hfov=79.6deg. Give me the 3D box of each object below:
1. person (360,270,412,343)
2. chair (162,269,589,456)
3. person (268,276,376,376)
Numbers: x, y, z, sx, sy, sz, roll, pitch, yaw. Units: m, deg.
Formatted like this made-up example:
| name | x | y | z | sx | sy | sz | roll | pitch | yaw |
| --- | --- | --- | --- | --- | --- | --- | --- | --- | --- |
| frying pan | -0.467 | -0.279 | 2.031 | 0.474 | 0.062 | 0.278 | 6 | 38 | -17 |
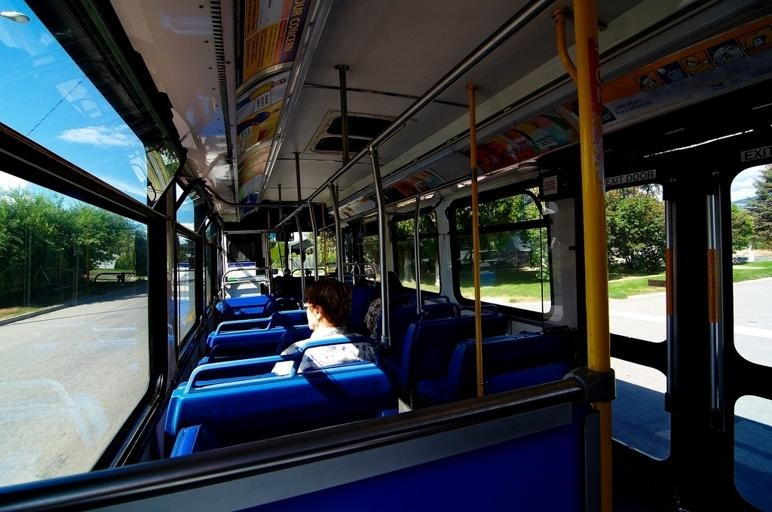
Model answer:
| name | x | y | z | sx | sy | sz | roll | pitch | yaw |
| --- | --- | --- | --- | --- | --- | --- | --- | --- | --- |
| person | 0.059 | 0.645 | 6.275 | 0.519 | 0.862 | 0.806 | 2 | -6 | -22 |
| chair | -0.159 | 0.796 | 3.447 | 2.708 | 0.989 | 1.388 | -4 | 0 | -28 |
| person | -0.536 | 0.602 | 4.043 | 0.911 | 0.847 | 0.467 | -2 | 9 | -25 |
